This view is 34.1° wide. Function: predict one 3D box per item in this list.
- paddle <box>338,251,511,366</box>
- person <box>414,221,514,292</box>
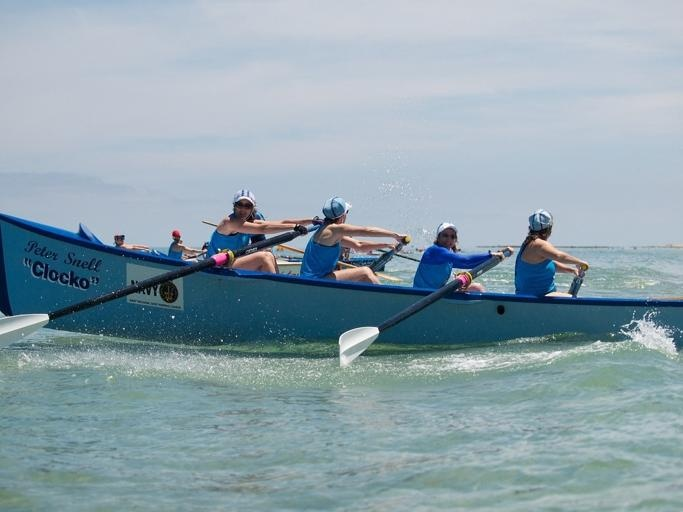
[{"bbox_3d":[0.989,0.682,13.621,3.300,0.202,0.474,-20,46,-9],"label":"paddle"},{"bbox_3d":[1.676,0.182,15.446,1.328,1.238,0.596,-6,33,2],"label":"person"}]
